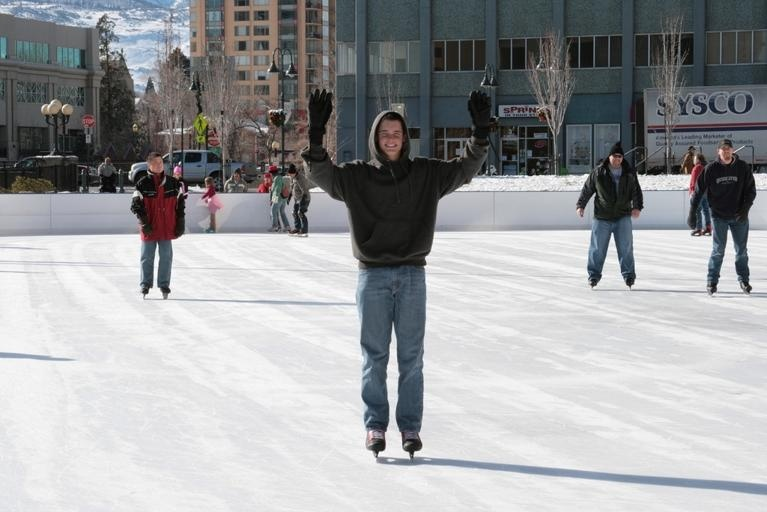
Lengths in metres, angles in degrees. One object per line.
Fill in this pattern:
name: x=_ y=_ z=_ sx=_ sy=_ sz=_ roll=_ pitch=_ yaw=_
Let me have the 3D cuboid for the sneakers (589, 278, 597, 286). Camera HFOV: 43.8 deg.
sneakers: x=3.288 y=0.411 z=14.931 sx=0.112 sy=0.088 sz=0.147 roll=-14 pitch=-14 yaw=13

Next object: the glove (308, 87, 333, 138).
glove: x=-0.521 y=-1.184 z=7.926 sx=0.175 sy=0.422 sz=0.334 roll=0 pitch=7 yaw=-1

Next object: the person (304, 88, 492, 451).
person: x=0.098 y=0.134 z=7.983 sx=1.509 sy=3.026 sz=0.602 roll=0 pitch=7 yaw=0

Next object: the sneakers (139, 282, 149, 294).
sneakers: x=-3.571 y=0.487 z=14.363 sx=0.140 sy=0.187 sz=0.191 roll=0 pitch=7 yaw=-4

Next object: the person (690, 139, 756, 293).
person: x=5.049 y=-0.564 z=14.227 sx=0.880 sy=2.312 sz=0.592 roll=2 pitch=7 yaw=21

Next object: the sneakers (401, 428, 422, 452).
sneakers: x=0.230 y=1.545 z=7.914 sx=0.173 sy=0.179 sz=0.152 roll=1 pitch=8 yaw=12

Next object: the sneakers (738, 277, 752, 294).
sneakers: x=5.498 y=0.415 z=14.514 sx=0.115 sy=0.159 sz=0.376 roll=0 pitch=17 yaw=6

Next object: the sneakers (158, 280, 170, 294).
sneakers: x=-3.269 y=0.455 z=14.318 sx=0.247 sy=0.245 sz=0.151 roll=0 pitch=4 yaw=-9

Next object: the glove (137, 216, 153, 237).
glove: x=-3.537 y=-0.431 z=14.140 sx=0.204 sy=0.272 sz=0.095 roll=-8 pitch=-3 yaw=-35

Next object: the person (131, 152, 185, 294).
person: x=-3.393 y=-0.467 z=14.498 sx=0.772 sy=2.197 sz=1.166 roll=-2 pitch=7 yaw=-15

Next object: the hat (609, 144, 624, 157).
hat: x=3.579 y=-1.638 z=14.617 sx=0.192 sy=0.201 sz=0.269 roll=7 pitch=-3 yaw=7

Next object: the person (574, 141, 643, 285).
person: x=3.547 y=-0.617 z=14.901 sx=0.942 sy=2.294 sz=1.259 roll=1 pitch=7 yaw=13
